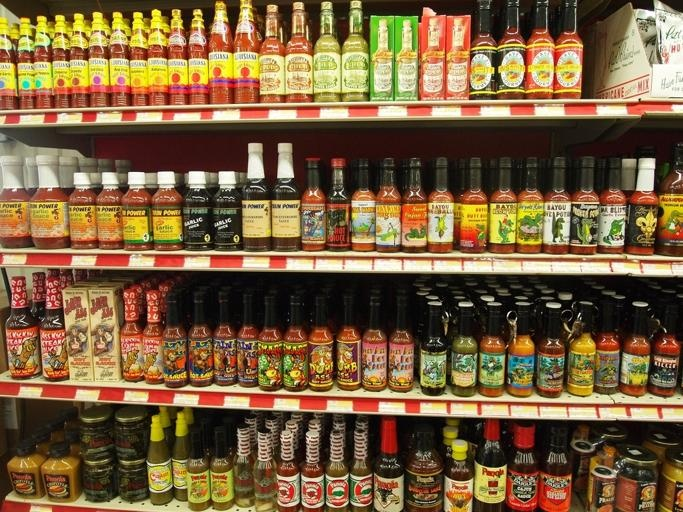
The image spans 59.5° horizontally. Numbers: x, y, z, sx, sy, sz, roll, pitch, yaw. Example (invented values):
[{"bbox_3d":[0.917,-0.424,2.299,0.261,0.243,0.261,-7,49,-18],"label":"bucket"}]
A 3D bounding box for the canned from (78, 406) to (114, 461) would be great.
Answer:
[{"bbox_3d":[-1.110,0.795,2.695,0.200,0.199,0.191,-2,7,-26],"label":"canned"}]

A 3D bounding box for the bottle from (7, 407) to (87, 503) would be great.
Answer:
[{"bbox_3d":[-1.336,0.942,2.826,0.381,0.210,0.353,-1,26,0],"label":"bottle"}]
